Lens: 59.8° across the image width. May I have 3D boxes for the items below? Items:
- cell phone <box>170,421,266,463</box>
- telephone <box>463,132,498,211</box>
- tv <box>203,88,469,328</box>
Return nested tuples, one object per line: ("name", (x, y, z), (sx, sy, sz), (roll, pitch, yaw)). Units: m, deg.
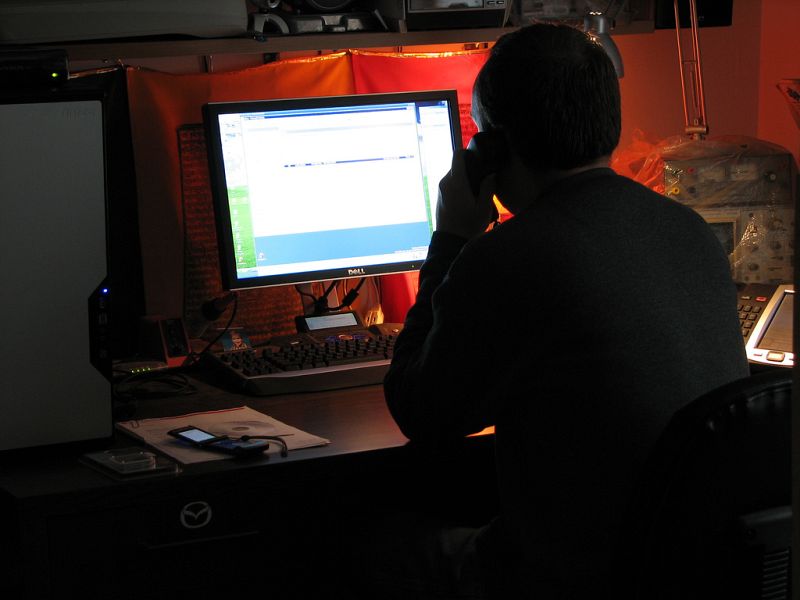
("cell phone", (-0.293, 0.208, 1.119), (0.159, 0.022, 0.057), (12, 18, 39))
("telephone", (0.135, -0.235, 1.168), (0.027, 0.072, 0.051), (4, -3, -31))
("tv", (-0.158, -0.224, 1.581), (0.594, 0.411, 0.067), (-6, 4, -18))
